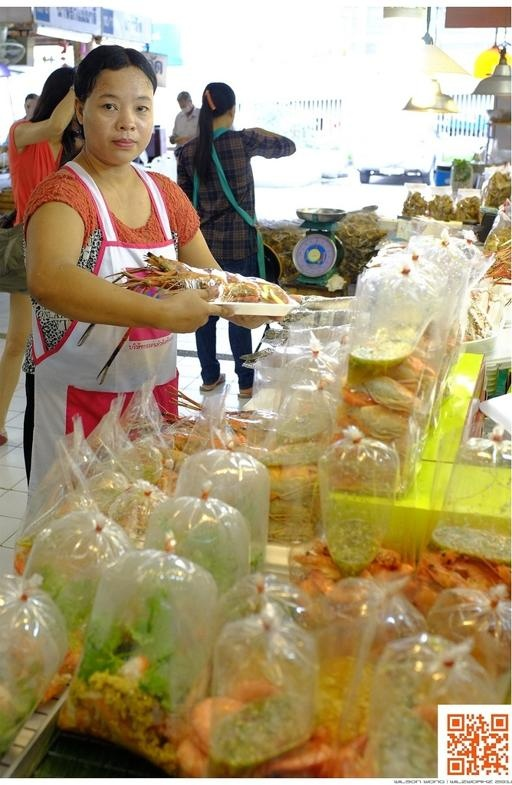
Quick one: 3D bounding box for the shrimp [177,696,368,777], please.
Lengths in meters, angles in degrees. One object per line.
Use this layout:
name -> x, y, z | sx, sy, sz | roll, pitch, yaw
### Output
shrimp -> 0.014, 0.286, 0.445 | 0.098, 0.029, 0.098 | -3, -8, 21

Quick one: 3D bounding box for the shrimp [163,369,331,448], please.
shrimp -> -0.004, 0.043, 1.108 | 0.370, 0.139, 0.367 | 0, 17, 2

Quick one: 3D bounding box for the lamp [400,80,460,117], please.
lamp -> 1.661, -2.758, 4.654 | 0.488, 0.345, 0.633 | 2, 21, 13

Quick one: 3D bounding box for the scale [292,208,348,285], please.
scale -> 0.409, -0.959, 3.212 | 0.287, 0.540, 0.310 | -2, 18, -2

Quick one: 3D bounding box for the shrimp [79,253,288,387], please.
shrimp -> -0.151, -0.286, 1.329 | 0.474, 0.169, 0.238 | -3, 19, -15

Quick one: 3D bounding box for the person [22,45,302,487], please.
person -> -0.262, -0.347, 1.329 | 0.545, 1.388, 0.538 | 9, 19, 24

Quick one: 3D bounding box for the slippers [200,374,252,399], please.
slippers -> -0.324, -0.041, 4.060 | 0.552, 0.208, 0.167 | -6, 11, -12
